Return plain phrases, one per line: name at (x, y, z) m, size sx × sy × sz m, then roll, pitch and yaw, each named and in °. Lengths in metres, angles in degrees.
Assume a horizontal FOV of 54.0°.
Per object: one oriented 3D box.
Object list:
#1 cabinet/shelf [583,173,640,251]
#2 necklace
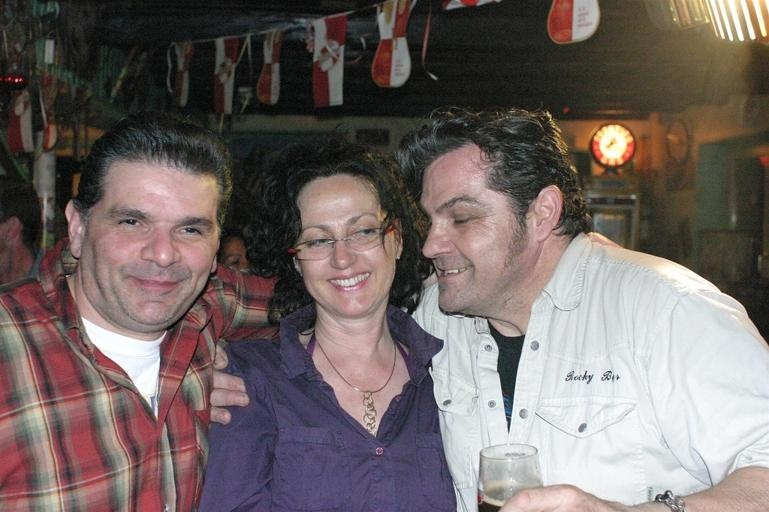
cabinet/shelf at (3.820, -0.564, 12.863) m, size 1.120 × 1.641 × 1.021 m, roll 1°, pitch 8°, yaw 5°
necklace at (-0.200, 0.802, 4.752) m, size 0.659 × 0.719 × 0.228 m, roll 2°, pitch -35°, yaw -11°
